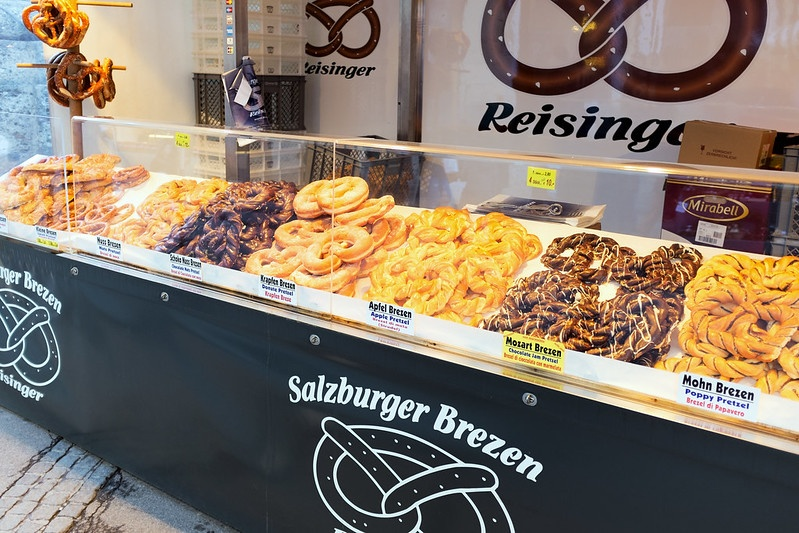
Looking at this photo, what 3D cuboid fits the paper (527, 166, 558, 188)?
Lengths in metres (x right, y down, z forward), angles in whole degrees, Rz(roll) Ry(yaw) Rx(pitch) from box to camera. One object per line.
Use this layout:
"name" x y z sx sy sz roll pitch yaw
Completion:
"paper" 0.502 -0.318 1.928 0.070 0.052 0.009 11 18 34

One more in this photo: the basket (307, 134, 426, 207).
"basket" -0.120 -0.388 2.156 0.310 0.201 0.308 30 28 36

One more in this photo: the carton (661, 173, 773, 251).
"carton" 1.033 -0.177 1.793 0.306 0.220 0.172 11 28 37
